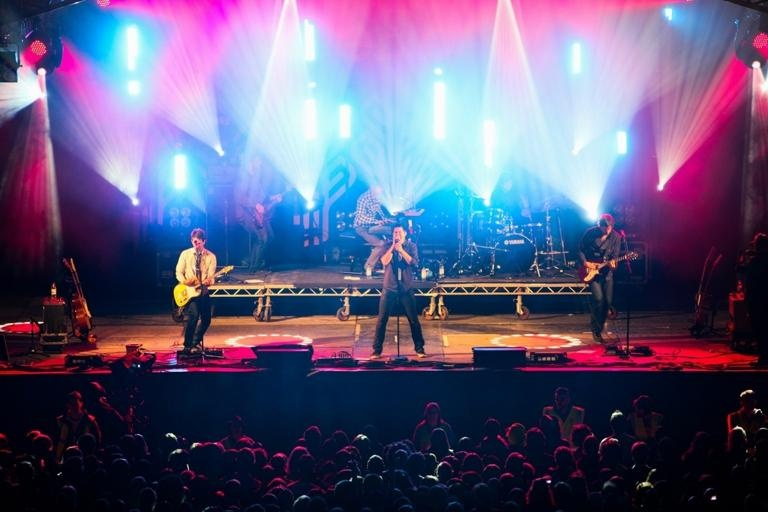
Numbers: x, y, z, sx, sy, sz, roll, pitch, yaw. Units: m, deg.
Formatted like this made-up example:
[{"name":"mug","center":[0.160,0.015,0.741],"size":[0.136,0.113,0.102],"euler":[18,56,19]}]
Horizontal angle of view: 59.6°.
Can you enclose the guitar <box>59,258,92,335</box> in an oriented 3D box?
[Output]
[{"name":"guitar","center":[-5.673,0.810,12.358],"size":[0.637,1.463,0.373],"euler":[7,-8,-25]}]

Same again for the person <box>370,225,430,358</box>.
[{"name":"person","center":[0.295,0.624,11.578],"size":[0.867,2.307,0.663],"euler":[5,-8,-11]}]

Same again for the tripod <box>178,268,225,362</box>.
[{"name":"tripod","center":[-3.241,1.034,11.656],"size":[0.618,1.380,0.164],"euler":[4,-3,14]}]

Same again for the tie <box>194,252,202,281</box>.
[{"name":"tie","center":[-3.248,0.174,11.678],"size":[0.068,0.666,0.101],"euler":[-2,-7,15]}]

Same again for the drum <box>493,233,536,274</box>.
[{"name":"drum","center":[2.959,-0.072,15.288],"size":[0.860,0.824,0.298],"euler":[-5,15,-19]}]

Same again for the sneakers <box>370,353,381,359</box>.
[{"name":"sneakers","center":[-0.145,1.705,11.398],"size":[0.175,0.076,0.076],"euler":[1,2,-5]}]

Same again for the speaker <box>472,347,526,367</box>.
[{"name":"speaker","center":[1.857,1.628,10.784],"size":[0.842,0.349,0.204],"euler":[3,-8,0]}]
